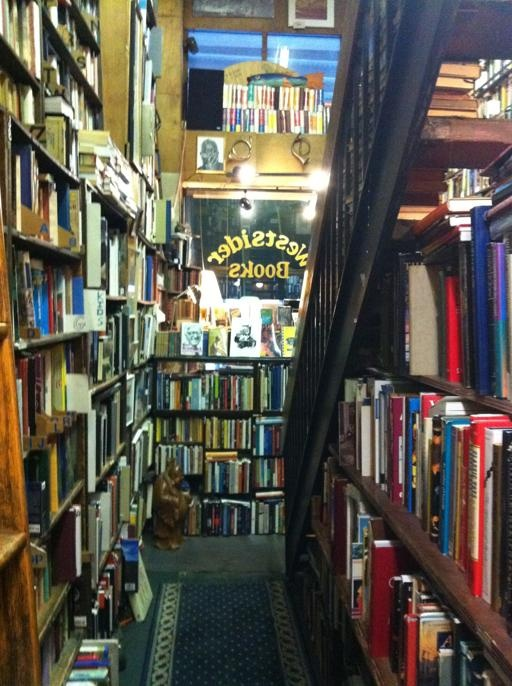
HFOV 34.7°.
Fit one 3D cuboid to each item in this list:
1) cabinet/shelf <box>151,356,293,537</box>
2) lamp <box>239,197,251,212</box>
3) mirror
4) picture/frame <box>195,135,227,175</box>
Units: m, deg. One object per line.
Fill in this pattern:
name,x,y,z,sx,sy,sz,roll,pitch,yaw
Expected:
cabinet/shelf,-0.230,0.638,4.988,0.639,1.068,0.273,0,1,-2
lamp,-0.084,-1.160,6.670,0.068,0.150,0.105,-7,3,-23
mirror,-0.111,-0.730,6.682,0.661,1.134,0.035,-2,3,-8
picture/frame,-0.355,-1.424,6.233,0.180,0.362,0.028,0,-3,-5
